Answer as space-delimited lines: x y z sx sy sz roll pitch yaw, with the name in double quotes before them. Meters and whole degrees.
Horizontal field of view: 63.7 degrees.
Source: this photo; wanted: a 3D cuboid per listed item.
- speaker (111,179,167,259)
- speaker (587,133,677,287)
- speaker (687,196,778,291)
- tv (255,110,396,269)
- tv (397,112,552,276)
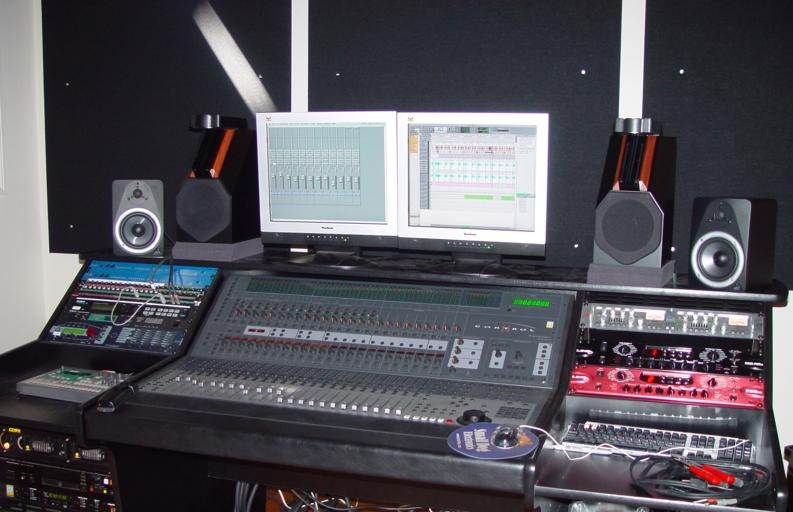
"speaker" -1.319 -0.190 3.256 0.286 0.388 0.172 3 -20 18
"speaker" 1.092 -0.203 2.857 0.409 0.734 0.272 9 -19 3
"speaker" 1.503 -0.050 2.796 0.355 0.397 0.268 -3 6 -35
"tv" -0.293 -0.383 3.296 0.799 0.708 0.314 4 8 24
"tv" 0.375 -0.320 3.087 0.788 0.709 0.253 6 11 32
